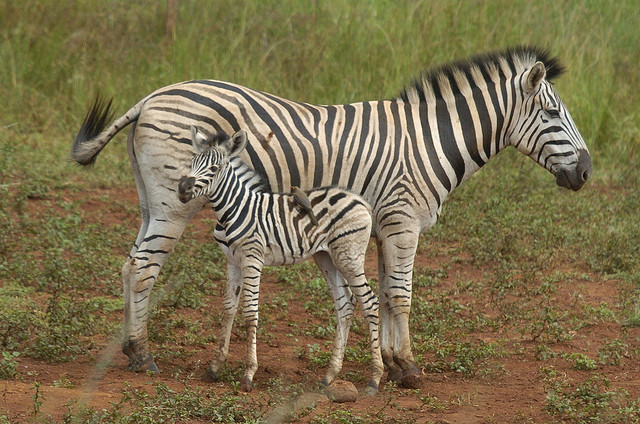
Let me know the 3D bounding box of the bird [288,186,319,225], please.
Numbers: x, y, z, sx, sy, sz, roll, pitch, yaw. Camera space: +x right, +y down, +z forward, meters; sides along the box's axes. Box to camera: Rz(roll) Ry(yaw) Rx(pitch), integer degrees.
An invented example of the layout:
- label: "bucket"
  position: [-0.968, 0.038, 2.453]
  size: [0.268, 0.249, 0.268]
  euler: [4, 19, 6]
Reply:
- label: "bird"
  position: [-0.220, -0.082, 11.094]
  size: [0.451, 0.399, 0.164]
  euler: [20, 24, 32]
